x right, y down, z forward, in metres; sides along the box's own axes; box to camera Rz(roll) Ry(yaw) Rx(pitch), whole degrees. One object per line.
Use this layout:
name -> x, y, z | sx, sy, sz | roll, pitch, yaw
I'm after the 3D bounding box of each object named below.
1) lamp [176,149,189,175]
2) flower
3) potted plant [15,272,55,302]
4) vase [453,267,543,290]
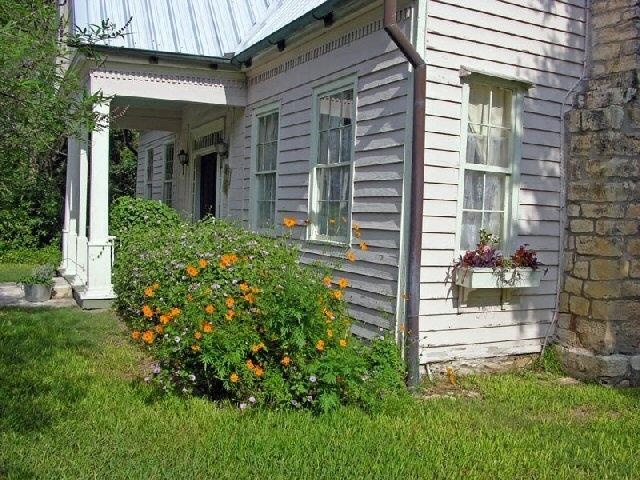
lamp -> -2.963, -1.706, 12.428 | 0.166, 0.541, 0.674 | 0, 7, -23
flower -> 2.087, 0.117, 6.867 | 1.133, 0.457, 0.410 | 0, 7, -26
potted plant -> -4.675, 0.775, 9.526 | 0.471, 0.455, 0.507 | 0, 7, -27
vase -> 2.116, 0.444, 6.799 | 1.100, 0.276, 0.244 | 0, 7, -24
